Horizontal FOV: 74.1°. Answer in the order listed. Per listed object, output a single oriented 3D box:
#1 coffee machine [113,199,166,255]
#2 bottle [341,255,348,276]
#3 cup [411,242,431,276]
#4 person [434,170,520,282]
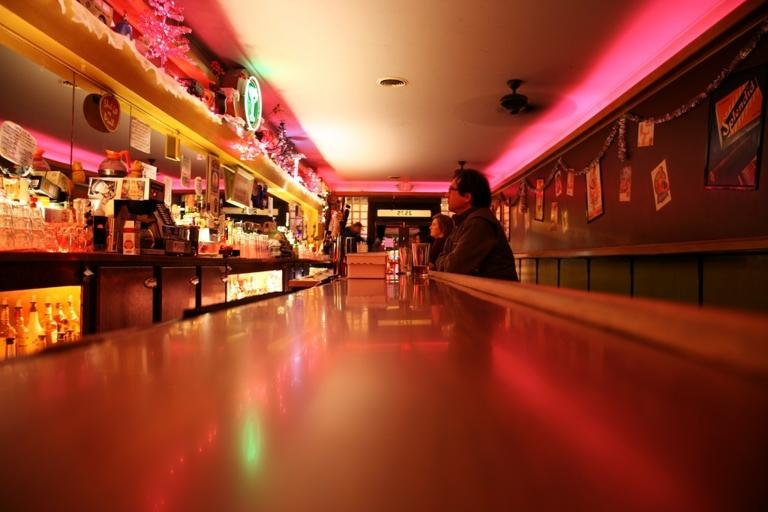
[{"bbox_3d":[-1.429,-0.197,3.041,0.291,0.324,0.200,7,20,1],"label":"coffee machine"},{"bbox_3d":[-0.272,0.070,3.345,0.034,0.122,0.075,-4,12,-13],"label":"bottle"},{"bbox_3d":[0.243,0.035,3.373,0.142,0.215,0.134,0,0,0],"label":"cup"},{"bbox_3d":[0.627,-0.205,3.507,0.505,0.725,0.731,0,3,2],"label":"person"}]
